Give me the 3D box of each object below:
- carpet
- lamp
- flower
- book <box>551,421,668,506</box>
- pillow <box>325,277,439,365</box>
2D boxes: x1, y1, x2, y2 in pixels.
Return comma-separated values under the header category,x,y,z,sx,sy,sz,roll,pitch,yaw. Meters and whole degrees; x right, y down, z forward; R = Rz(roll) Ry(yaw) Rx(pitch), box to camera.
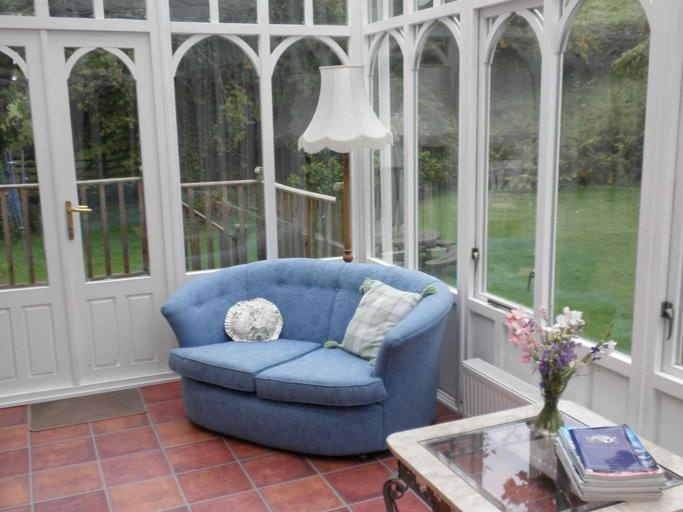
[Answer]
category,x,y,z,sx,sy,sz,roll,pitch,yaw
carpet,-1.866,1.113,4.169,0.797,0.048,0.456,-5,9,-19
lamp,0.005,-0.654,4.181,0.629,1.417,0.673,-4,10,-8
flower,0.915,0.502,2.432,0.479,0.511,0.453,13,-9,-34
book,1.017,0.787,2.191,0.301,0.158,0.305,-2,9,3
pillow,0.252,0.402,3.755,0.163,0.525,0.531,31,-7,-34
